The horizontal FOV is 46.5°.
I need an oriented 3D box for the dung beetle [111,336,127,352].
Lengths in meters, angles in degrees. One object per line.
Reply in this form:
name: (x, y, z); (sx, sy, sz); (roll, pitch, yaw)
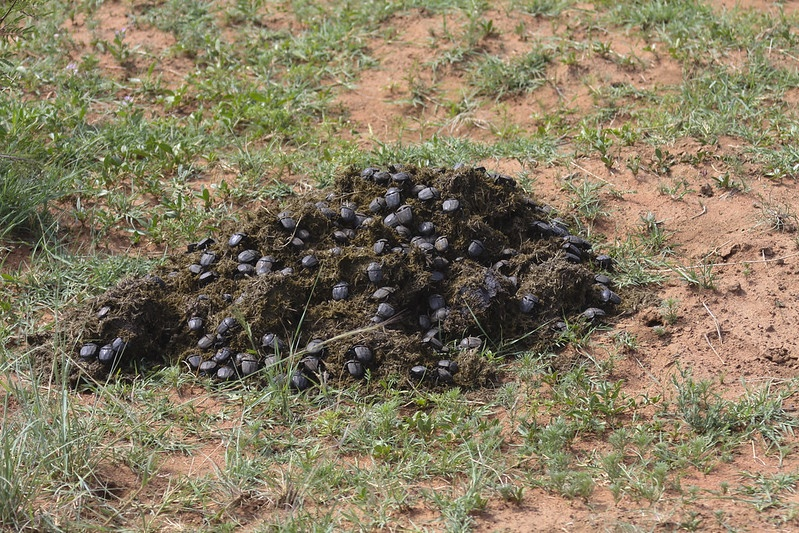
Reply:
dung beetle: (-2.608, 0.720, 8.702); (0.139, 0.120, 0.125); (-1, 10, -15)

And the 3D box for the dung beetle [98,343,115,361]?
dung beetle: (-2.713, 0.794, 8.656); (0.117, 0.134, 0.136); (6, 7, 13)
